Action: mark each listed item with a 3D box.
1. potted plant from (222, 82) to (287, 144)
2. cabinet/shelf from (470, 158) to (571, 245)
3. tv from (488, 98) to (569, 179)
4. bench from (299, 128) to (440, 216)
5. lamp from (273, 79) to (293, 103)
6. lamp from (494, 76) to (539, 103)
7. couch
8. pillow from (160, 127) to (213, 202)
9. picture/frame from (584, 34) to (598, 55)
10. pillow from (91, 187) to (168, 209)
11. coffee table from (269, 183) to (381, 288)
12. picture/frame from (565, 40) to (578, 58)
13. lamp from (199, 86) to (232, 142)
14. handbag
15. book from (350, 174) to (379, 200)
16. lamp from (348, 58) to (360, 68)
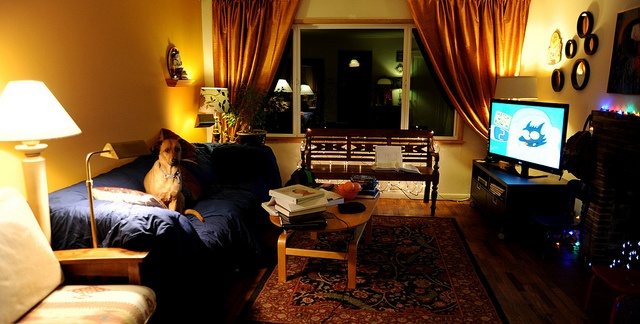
[{"bbox_3d":[-1.100,-0.795,6.687,1.051,0.959,0.667,-2,12,-13],"label":"potted plant"},{"bbox_3d":[2.889,0.482,6.091,0.805,0.695,1.321,-1,14,0],"label":"cabinet/shelf"},{"bbox_3d":[2.995,-0.320,5.717,0.142,0.875,1.210,-5,10,-30],"label":"tv"},{"bbox_3d":[0.748,0.119,6.383,2.167,1.078,0.682,2,20,2],"label":"bench"},{"bbox_3d":[-0.641,-1.247,6.938,0.325,0.268,0.281,1,28,-4],"label":"lamp"},{"bbox_3d":[2.967,-1.112,6.093,0.460,0.438,0.455,9,15,33],"label":"lamp"},{"bbox_3d":[-1.859,0.563,5.581,2.363,1.026,3.197,4,14,11],"label":"couch"},{"bbox_3d":[-1.696,0.076,5.431,0.285,0.875,0.836,-26,-32,9],"label":"pillow"},{"bbox_3d":[3.648,-1.583,5.419,0.051,0.272,0.178,-5,12,-21],"label":"picture/frame"},{"bbox_3d":[-2.131,0.376,4.409,0.471,0.104,0.323,10,2,-11],"label":"pillow"},{"bbox_3d":[0.092,0.940,5.370,1.272,0.803,1.758,0,13,11],"label":"coffee table"},{"bbox_3d":[3.563,-1.609,5.720,0.079,0.269,0.181,-3,12,-14],"label":"picture/frame"},{"bbox_3d":[-1.712,-0.756,6.557,0.457,0.907,0.489,-3,12,-15],"label":"lamp"},{"bbox_3d":[3.387,-0.070,5.237,0.370,0.672,0.217,7,14,30],"label":"handbag"},{"bbox_3d":[0.598,0.304,5.290,0.296,0.169,0.373,2,11,10],"label":"book"},{"bbox_3d":[0.587,-1.689,6.903,0.149,0.145,0.062,0,-15,3],"label":"lamp"}]
